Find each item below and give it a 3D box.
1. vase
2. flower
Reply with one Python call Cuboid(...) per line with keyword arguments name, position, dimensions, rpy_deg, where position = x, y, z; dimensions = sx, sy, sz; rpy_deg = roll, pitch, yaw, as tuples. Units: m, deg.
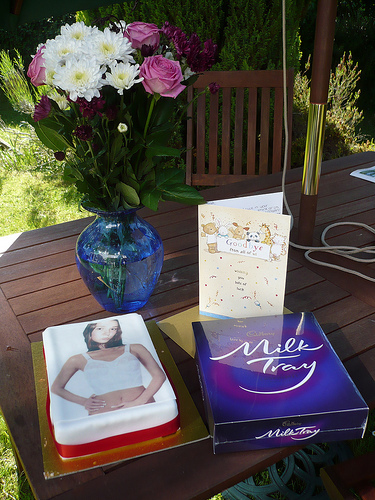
Cuboid(name="vase", position=(-0.141, 0.012, 0.822), dimensions=(0.184, 0.212, 0.177), rpy_deg=(-11, 24, -21))
Cuboid(name="flower", position=(-0.075, -0.223, 0.775), dimensions=(0.356, 0.465, 0.355), rpy_deg=(15, 39, 21))
